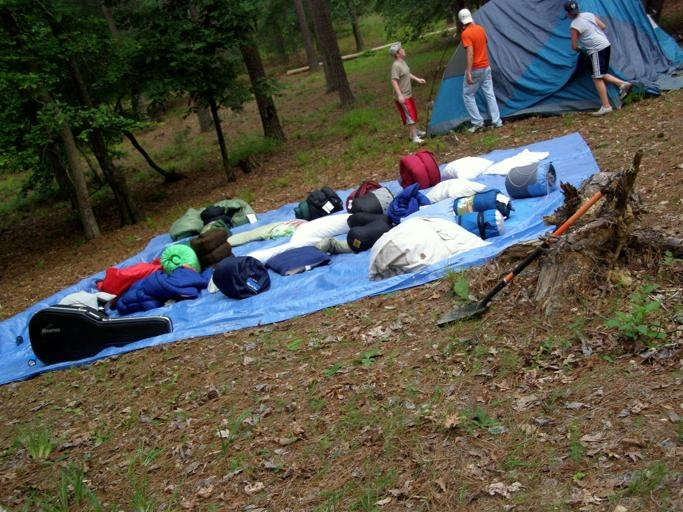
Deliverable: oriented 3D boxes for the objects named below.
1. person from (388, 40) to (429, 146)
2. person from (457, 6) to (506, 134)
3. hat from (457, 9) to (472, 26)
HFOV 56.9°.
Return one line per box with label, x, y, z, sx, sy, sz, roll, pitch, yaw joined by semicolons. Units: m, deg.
person;1.535;-3.721;14.132;0.722;2.186;0.886;-2;29;22
person;2.920;-3.992;13.416;0.885;2.726;0.962;-4;24;-21
hat;2.614;-5.118;13.284;0.235;0.330;0.712;-8;19;15
